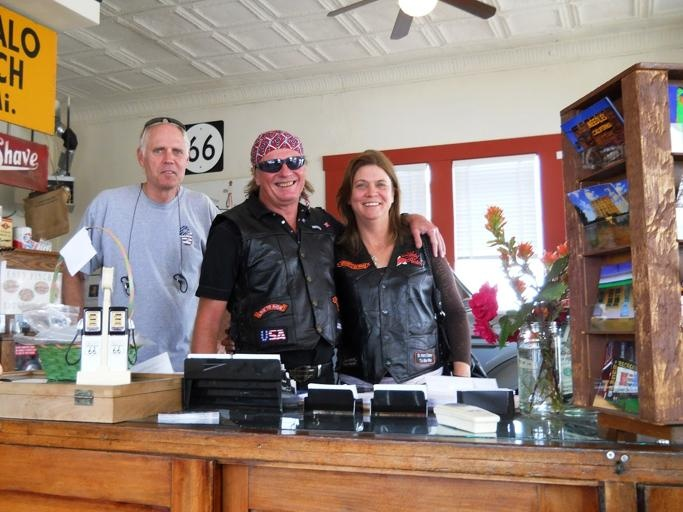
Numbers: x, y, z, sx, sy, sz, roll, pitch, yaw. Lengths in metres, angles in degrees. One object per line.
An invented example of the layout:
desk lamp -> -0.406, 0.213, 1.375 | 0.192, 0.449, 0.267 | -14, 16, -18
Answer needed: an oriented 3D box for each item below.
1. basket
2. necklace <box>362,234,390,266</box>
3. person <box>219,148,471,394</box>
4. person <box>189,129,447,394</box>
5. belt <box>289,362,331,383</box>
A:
basket -> -0.688, 0.103, 1.729 | 0.294, 0.504, 0.126 | -5, -10, 24
necklace -> 0.149, -0.022, 2.410 | 0.092, 0.123, 0.035 | -3, -44, -2
person -> 0.137, 0.303, 2.489 | 0.801, 1.477, 0.473 | -2, 24, 16
person -> -0.282, 0.001, 2.393 | 0.503, 0.981, 0.405 | -3, -7, 18
belt -> -0.104, 0.419, 2.155 | 0.108, 0.047, 0.078 | -1, -2, -32
